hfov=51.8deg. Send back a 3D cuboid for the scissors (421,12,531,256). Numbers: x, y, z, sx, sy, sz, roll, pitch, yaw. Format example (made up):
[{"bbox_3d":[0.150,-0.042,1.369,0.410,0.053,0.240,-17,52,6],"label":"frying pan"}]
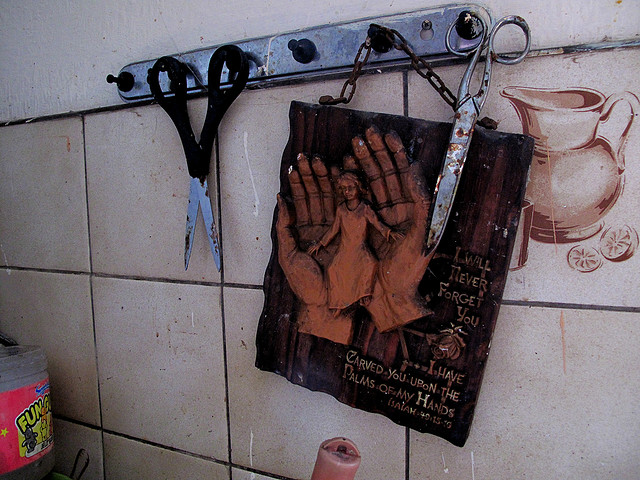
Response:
[{"bbox_3d":[0.335,-0.244,1.464,0.185,0.646,0.046,14,8,9],"label":"scissors"}]

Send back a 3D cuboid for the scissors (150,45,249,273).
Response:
[{"bbox_3d":[-0.329,-0.211,1.714,0.264,0.592,0.064,9,9,15],"label":"scissors"}]
